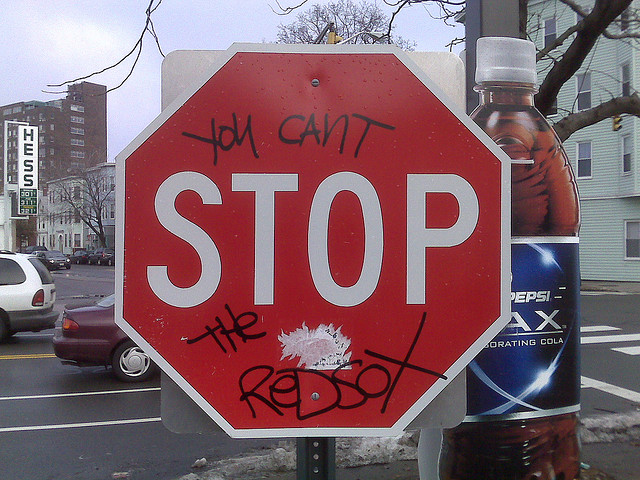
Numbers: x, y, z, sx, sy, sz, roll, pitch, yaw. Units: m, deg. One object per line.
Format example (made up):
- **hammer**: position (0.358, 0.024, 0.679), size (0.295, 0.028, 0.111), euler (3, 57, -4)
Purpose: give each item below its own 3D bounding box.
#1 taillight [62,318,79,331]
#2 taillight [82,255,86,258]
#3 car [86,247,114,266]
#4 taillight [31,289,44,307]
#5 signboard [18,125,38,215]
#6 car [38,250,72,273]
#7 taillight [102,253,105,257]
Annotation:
- **taillight**: position (-3.254, 1.102, 10.000), size (0.290, 0.153, 0.054), euler (1, 4, 34)
- **taillight**: position (-16.888, 1.157, 54.971), size (0.210, 0.117, 0.506), euler (-3, 3, -30)
- **car**: position (-15.020, 1.219, 52.768), size (1.168, 1.037, 2.331), euler (-4, 8, -41)
- **taillight**: position (-4.751, 0.964, 12.899), size (0.279, 0.379, 0.046), euler (-2, 1, -26)
- **signboard**: position (-16.152, -4.121, 42.508), size (0.995, 5.264, 8.699), euler (-2, 3, -20)
- **car**: position (-13.320, 1.042, 38.687), size (1.048, 0.801, 2.270), euler (0, -4, -36)
- **taillight**: position (-14.556, 0.981, 51.589), size (0.237, 0.243, 0.079), euler (-2, -39, -7)
